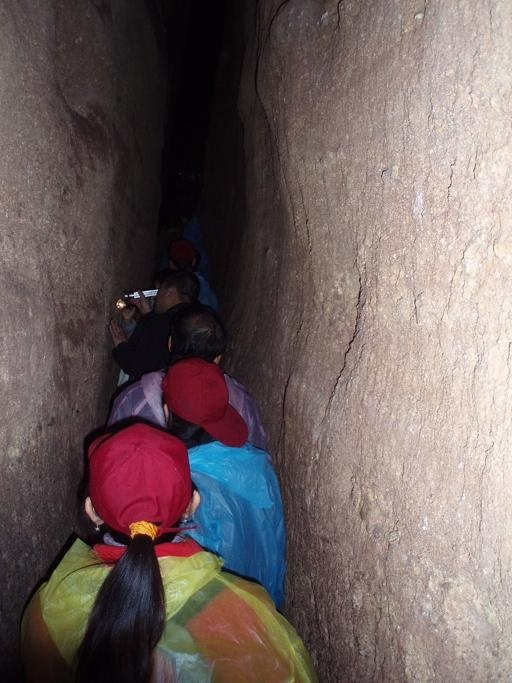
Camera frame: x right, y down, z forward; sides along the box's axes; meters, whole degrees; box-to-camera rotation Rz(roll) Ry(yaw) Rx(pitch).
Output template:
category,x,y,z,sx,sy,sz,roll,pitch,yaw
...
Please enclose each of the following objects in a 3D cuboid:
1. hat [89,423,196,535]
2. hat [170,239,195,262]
category,x,y,z,sx,sy,sz,roll,pitch,yaw
hat,-0.202,0.236,0.969,0.169,0.133,0.274,-11,23,-17
hat,-0.382,-0.487,2.791,0.079,0.044,0.151,1,55,-20
